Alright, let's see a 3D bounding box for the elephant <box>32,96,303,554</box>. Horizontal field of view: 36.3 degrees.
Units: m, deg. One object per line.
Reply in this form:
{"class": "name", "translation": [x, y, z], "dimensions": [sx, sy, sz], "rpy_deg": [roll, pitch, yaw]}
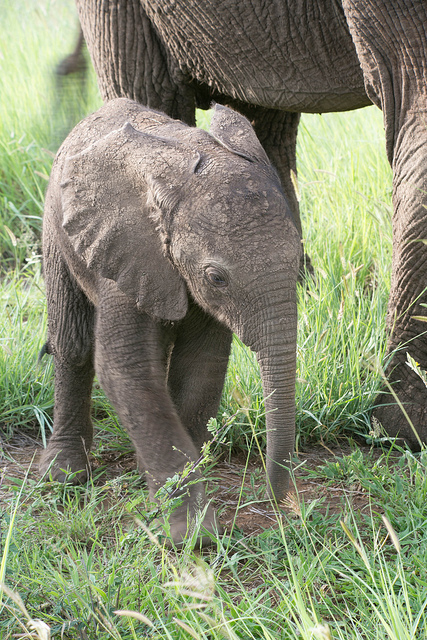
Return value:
{"class": "elephant", "translation": [-0.163, -0.013, 1.937], "dimensions": [0.566, 1.045, 1.219], "rpy_deg": [-8, 16, -31]}
